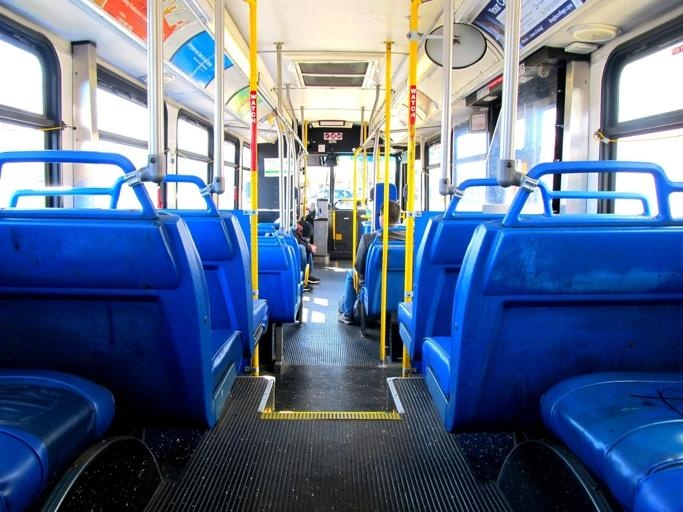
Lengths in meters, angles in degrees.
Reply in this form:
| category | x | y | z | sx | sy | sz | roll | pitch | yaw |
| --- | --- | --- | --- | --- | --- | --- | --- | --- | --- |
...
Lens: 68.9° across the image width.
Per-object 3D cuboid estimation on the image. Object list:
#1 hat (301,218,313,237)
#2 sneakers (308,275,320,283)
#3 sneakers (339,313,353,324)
| category | x | y | z | sx | sy | sz | roll | pitch | yaw |
| --- | --- | --- | --- | --- | --- | --- | --- | --- | --- |
| hat | -0.666 | -0.547 | 9.736 | 0.319 | 0.497 | 0.326 | 0 | 8 | -6 |
| sneakers | -0.465 | 0.416 | 8.428 | 0.212 | 0.100 | 0.084 | 2 | 2 | 41 |
| sneakers | 0.053 | 0.738 | 5.811 | 0.072 | 0.098 | 0.200 | -1 | 11 | -24 |
